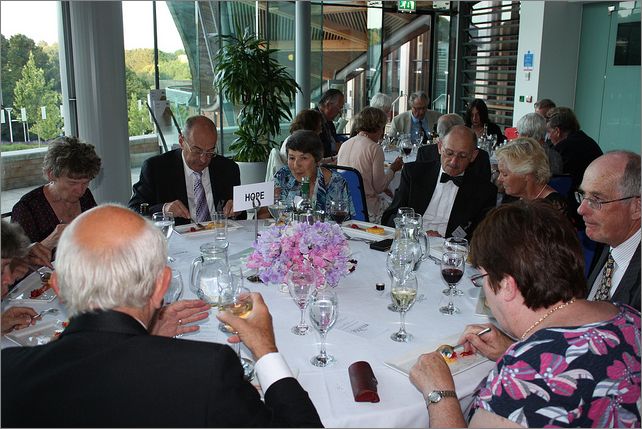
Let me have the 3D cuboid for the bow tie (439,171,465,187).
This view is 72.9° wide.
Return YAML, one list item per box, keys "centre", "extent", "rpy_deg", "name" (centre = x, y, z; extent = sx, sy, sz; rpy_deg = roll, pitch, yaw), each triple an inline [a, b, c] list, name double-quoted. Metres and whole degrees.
- centre: [1.137, -0.309, 3.732]
  extent: [0.104, 0.101, 0.223]
  rpy_deg: [-16, 21, -38]
  name: "bow tie"

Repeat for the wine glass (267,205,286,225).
- centre: [-0.293, 0.000, 2.942]
  extent: [0.127, 0.109, 0.126]
  rpy_deg: [0, 1, 0]
  name: "wine glass"

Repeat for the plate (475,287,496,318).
- centre: [0.761, 0.412, 2.002]
  extent: [0.071, 0.024, 0.230]
  rpy_deg: [-1, 22, 12]
  name: "plate"

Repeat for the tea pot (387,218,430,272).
- centre: [0.533, 0.145, 2.581]
  extent: [0.293, 0.363, 0.229]
  rpy_deg: [2, 0, -5]
  name: "tea pot"

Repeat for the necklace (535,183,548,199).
- centre: [1.643, -0.171, 3.228]
  extent: [0.022, 0.095, 0.092]
  rpy_deg: [32, 14, -6]
  name: "necklace"

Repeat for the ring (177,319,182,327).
- centre: [-0.645, 0.492, 1.990]
  extent: [0.013, 0.019, 0.019]
  rpy_deg: [4, 17, 6]
  name: "ring"

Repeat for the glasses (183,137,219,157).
- centre: [-0.999, -0.557, 3.623]
  extent: [0.244, 0.148, 0.126]
  rpy_deg: [-8, 17, -17]
  name: "glasses"

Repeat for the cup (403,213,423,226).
- centre: [0.626, 0.031, 2.923]
  extent: [0.090, 0.097, 0.095]
  rpy_deg: [0, 0, 0]
  name: "cup"

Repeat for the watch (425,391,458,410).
- centre: [0.443, 0.676, 1.615]
  extent: [0.091, 0.057, 0.093]
  rpy_deg: [-25, -33, 36]
  name: "watch"

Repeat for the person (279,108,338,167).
- centre: [-0.080, -1.040, 5.807]
  extent: [0.868, 0.945, 0.634]
  rpy_deg: [-15, 20, -34]
  name: "person"

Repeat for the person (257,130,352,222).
- centre: [-0.024, -0.335, 3.881]
  extent: [0.746, 1.146, 0.725]
  rpy_deg: [0, 11, 13]
  name: "person"

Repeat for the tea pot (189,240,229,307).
- centre: [-0.560, 0.301, 2.212]
  extent: [0.265, 0.364, 0.213]
  rpy_deg: [-1, 6, -5]
  name: "tea pot"

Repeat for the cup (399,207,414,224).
- centre: [0.601, 0.009, 3.048]
  extent: [0.101, 0.108, 0.107]
  rpy_deg: [0, 2, 0]
  name: "cup"

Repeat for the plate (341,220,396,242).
- centre: [0.341, 0.124, 3.187]
  extent: [0.248, 0.039, 0.181]
  rpy_deg: [8, 22, 27]
  name: "plate"
